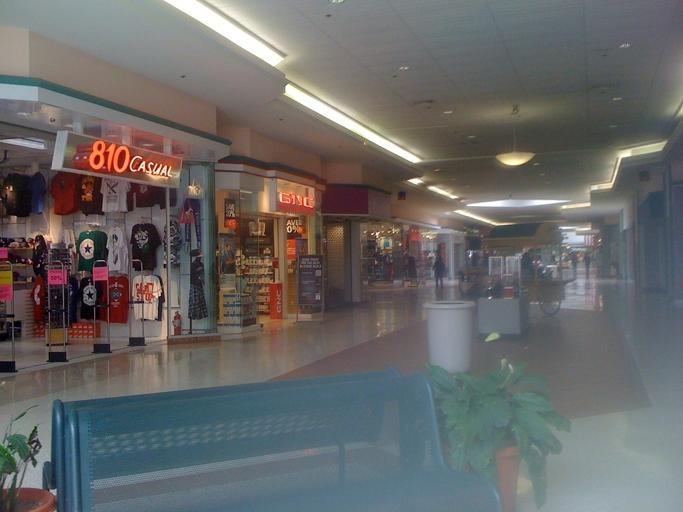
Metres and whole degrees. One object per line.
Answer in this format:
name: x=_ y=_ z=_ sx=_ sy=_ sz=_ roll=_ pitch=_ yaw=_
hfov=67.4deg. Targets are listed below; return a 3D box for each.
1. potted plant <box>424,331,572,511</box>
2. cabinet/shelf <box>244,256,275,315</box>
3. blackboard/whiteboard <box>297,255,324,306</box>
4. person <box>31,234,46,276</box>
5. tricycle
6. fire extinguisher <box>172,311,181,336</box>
potted plant: x=0.822 y=1.015 z=2.978 sx=0.884 sy=0.937 sz=0.473 roll=4 pitch=-30 yaw=-4
cabinet/shelf: x=-2.002 y=0.747 z=12.473 sx=0.397 sy=1.448 sz=0.965 roll=-1 pitch=1 yaw=30
blackboard/whiteboard: x=-0.733 y=0.655 z=12.051 sx=0.600 sy=1.254 sz=0.318 roll=-1 pitch=0 yaw=5
person: x=-6.054 y=-0.015 z=10.247 sx=0.454 sy=0.898 sz=0.133 roll=-1 pitch=0 yaw=30
tricycle: x=3.089 y=0.101 z=9.170 sx=1.697 sy=1.584 sz=1.222 roll=-1 pitch=14 yaw=28
fire extinguisher: x=-3.010 y=1.216 z=9.343 sx=0.172 sy=0.469 sz=0.130 roll=-1 pitch=0 yaw=2
